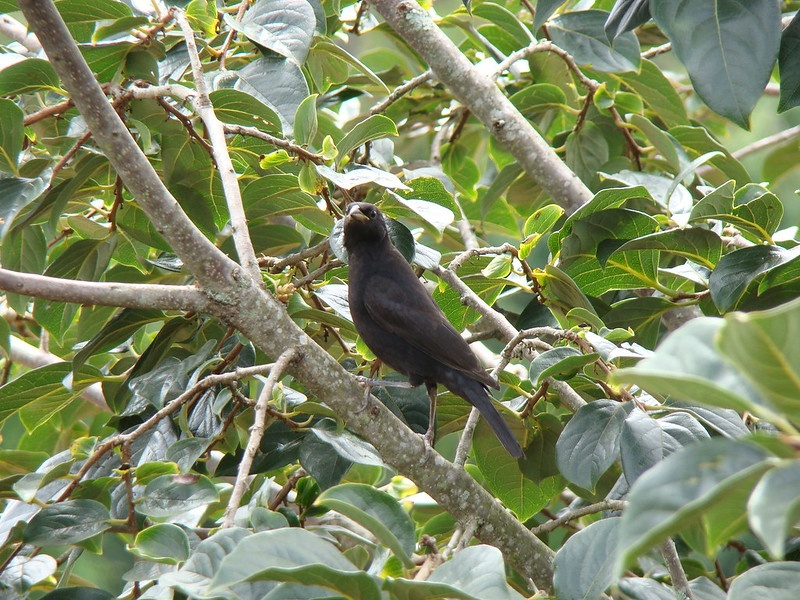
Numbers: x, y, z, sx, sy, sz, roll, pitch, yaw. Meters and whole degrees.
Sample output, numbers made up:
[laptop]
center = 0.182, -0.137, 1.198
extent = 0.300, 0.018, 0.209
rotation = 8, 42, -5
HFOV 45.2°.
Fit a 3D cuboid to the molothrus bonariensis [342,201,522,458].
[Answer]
[molothrus bonariensis]
center = -0.018, 0.051, 4.334
extent = 0.375, 1.273, 0.666
rotation = -33, 2, 2
